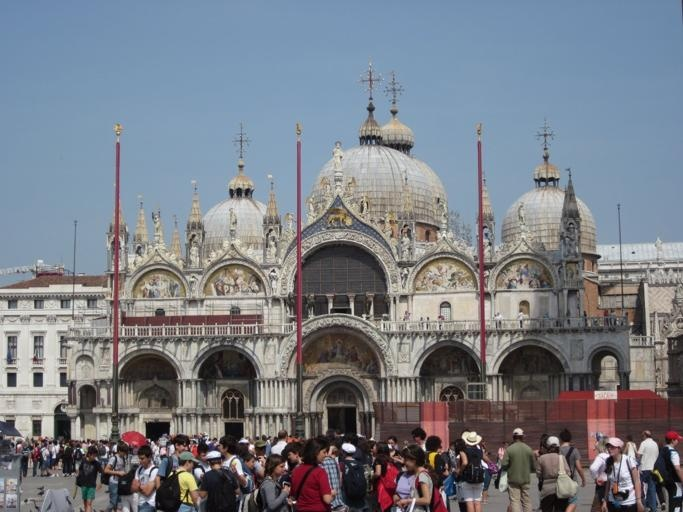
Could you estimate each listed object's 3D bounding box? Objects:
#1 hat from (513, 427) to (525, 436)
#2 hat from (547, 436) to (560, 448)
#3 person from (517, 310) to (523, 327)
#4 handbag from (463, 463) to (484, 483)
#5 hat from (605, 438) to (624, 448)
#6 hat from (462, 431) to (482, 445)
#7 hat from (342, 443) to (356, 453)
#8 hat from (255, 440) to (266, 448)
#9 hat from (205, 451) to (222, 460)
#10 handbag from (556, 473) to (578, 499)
[{"bbox_3d":[8.050,8.056,85.567,0.412,0.273,0.639,-1,-5,0],"label":"hat"},{"bbox_3d":[9.535,8.401,84.842,0.568,0.533,0.806,-3,-14,6],"label":"hat"},{"bbox_3d":[11.882,4.080,124.576,0.412,1.339,1.449,-3,-14,5],"label":"person"},{"bbox_3d":[6.030,10.006,85.824,0.841,0.852,0.849,3,-14,-15],"label":"handbag"},{"bbox_3d":[12.278,8.420,84.254,0.654,0.516,0.707,-2,-14,2],"label":"hat"},{"bbox_3d":[6.003,8.458,86.598,0.731,0.786,1.130,-2,-14,-1],"label":"hat"},{"bbox_3d":[0.263,8.647,84.065,0.576,0.573,0.906,-2,-14,0],"label":"hat"},{"bbox_3d":[-3.896,8.814,87.982,0.509,0.471,1.171,-2,-14,-2],"label":"hat"},{"bbox_3d":[-5.704,8.820,82.792,0.653,0.464,0.566,-1,-14,-5],"label":"hat"},{"bbox_3d":[10.063,10.395,84.259,0.971,1.054,0.549,-18,-9,-13],"label":"handbag"}]
